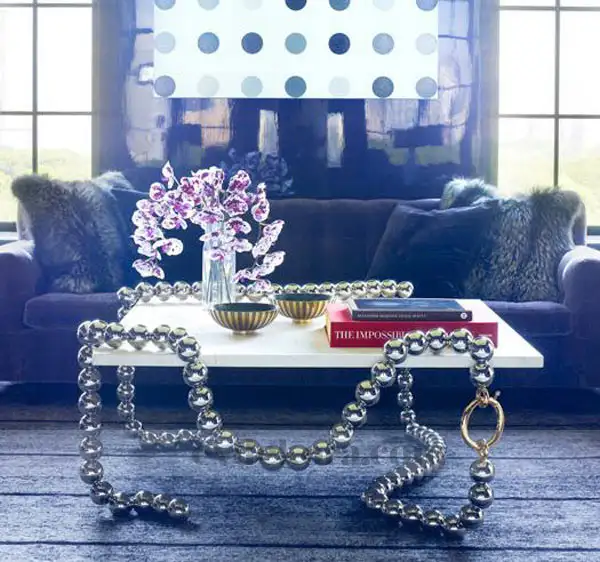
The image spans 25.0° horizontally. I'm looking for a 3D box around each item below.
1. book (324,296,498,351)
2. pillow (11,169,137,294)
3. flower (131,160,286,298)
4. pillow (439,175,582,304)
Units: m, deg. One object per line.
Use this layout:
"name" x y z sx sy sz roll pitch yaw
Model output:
"book" 0.359 0.149 4.233 0.544 0.114 0.160 2 14 5
"pillow" -0.875 -0.190 5.319 0.491 0.460 0.146 -3 -10 -35
"flower" -0.348 -0.187 4.795 0.552 0.637 0.560 3 1 -10
"pillow" 0.902 -0.165 5.300 0.478 0.477 0.155 3 -8 17
